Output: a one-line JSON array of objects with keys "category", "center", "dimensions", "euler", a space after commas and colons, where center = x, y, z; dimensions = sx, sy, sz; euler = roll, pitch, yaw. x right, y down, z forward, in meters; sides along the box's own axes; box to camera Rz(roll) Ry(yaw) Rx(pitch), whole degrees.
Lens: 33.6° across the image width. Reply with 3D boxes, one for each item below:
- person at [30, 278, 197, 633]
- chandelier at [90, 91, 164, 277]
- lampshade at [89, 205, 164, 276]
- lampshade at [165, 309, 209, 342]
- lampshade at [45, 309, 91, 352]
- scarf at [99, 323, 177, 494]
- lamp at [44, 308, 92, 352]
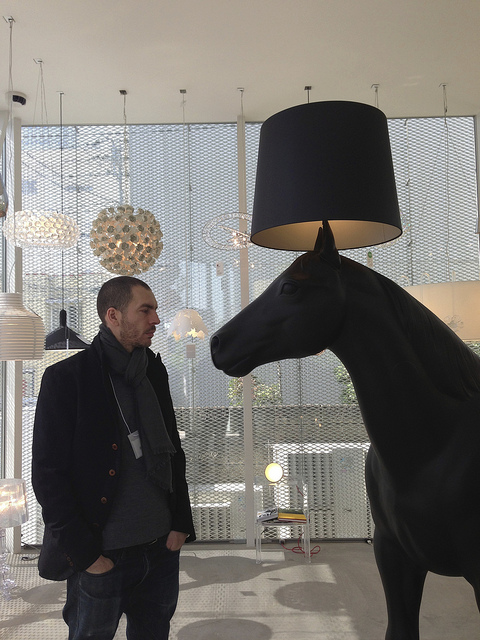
[{"category": "person", "center": [-0.494, 0.532, 3.052], "dimensions": [0.624, 1.241, 0.356], "euler": [-3, 1, -24]}, {"category": "chandelier", "center": [-0.678, -0.783, 4.713], "dimensions": [0.456, 0.990, 0.412], "euler": [-1, 21, -9]}, {"category": "lampshade", "center": [-0.730, -0.450, 4.770], "dimensions": [0.487, 0.414, 0.371], "euler": [1, 0, -18]}, {"category": "lampshade", "center": [-0.361, 0.035, 5.473], "dimensions": [0.280, 0.151, 0.239], "euler": [2, -8, 1]}, {"category": "lampshade", "center": [-1.214, 0.018, 5.485], "dimensions": [0.420, 0.277, 0.381], "euler": [2, 10, 8]}, {"category": "scarf", "center": [-0.399, 0.343, 3.090], "dimensions": [0.179, 0.596, 0.278], "euler": [-3, 1, -45]}, {"category": "lamp", "center": [-1.233, 0.074, 5.712], "dimensions": [0.413, 0.347, 0.355], "euler": [-1, -5, 6]}]
